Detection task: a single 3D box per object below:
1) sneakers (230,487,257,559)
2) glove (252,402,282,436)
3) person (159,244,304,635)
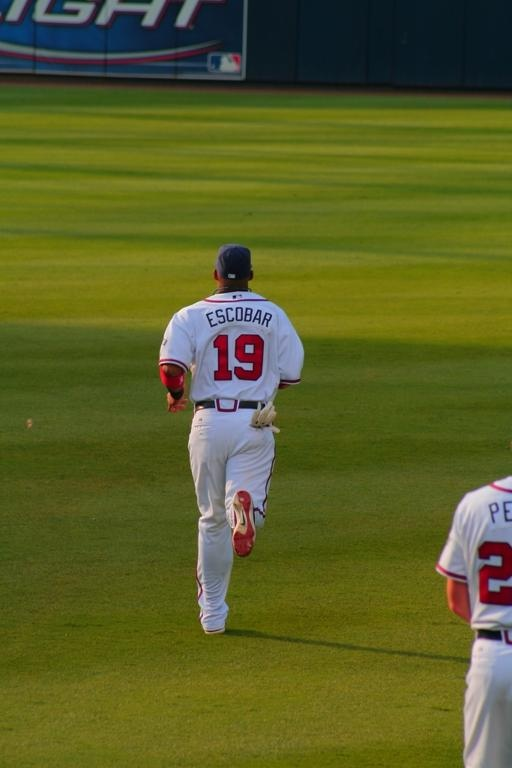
[{"bbox_3d":[-0.086,0.871,12.384,0.122,0.397,0.149,-4,-23,6],"label":"sneakers"},{"bbox_3d":[0.054,0.208,12.718,0.146,0.244,0.109,5,13,-9],"label":"glove"},{"bbox_3d":[-0.188,0.369,12.651,0.896,2.476,0.657,1,4,1],"label":"person"}]
